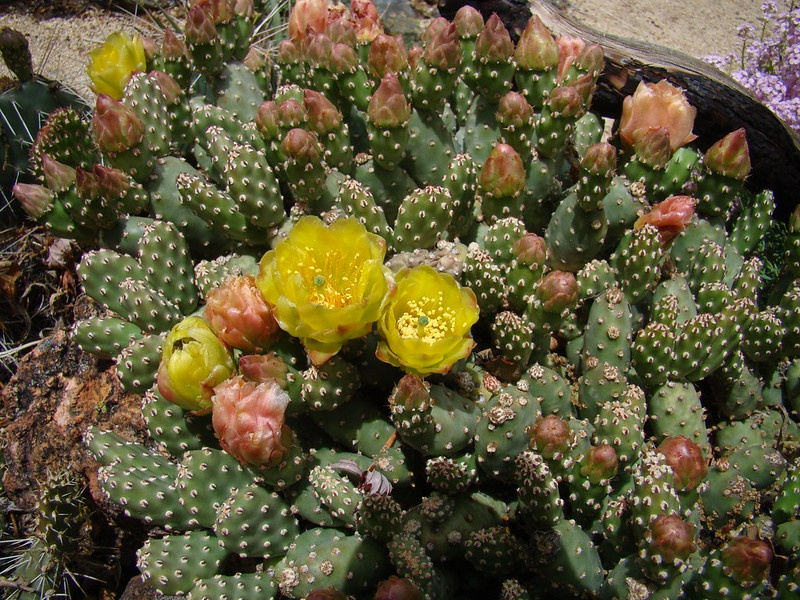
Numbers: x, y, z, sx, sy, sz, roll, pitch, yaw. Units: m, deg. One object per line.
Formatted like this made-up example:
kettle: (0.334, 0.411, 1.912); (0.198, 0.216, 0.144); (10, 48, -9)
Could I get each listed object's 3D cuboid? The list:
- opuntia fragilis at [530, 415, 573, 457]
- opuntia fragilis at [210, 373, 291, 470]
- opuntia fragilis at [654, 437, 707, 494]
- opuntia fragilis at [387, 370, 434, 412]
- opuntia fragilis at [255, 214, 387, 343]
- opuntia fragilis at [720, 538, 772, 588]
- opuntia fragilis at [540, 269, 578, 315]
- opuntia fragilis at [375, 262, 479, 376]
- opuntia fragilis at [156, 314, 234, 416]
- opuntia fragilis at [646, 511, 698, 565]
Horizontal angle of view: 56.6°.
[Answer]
opuntia fragilis: (0.506, 0.453, 2.497); (0.128, 0.080, 0.127); (14, 96, -2)
opuntia fragilis: (-0.493, 0.392, 2.427); (0.249, 0.149, 0.250); (13, 62, -3)
opuntia fragilis: (0.937, 0.558, 2.494); (0.143, 0.148, 0.182); (0, 50, 15)
opuntia fragilis: (0.036, 0.293, 2.424); (0.113, 0.119, 0.115); (15, 30, 20)
opuntia fragilis: (-0.255, -0.066, 2.443); (0.426, 0.218, 0.393); (7, 63, -7)
opuntia fragilis: (1.074, 0.808, 2.310); (0.121, 0.155, 0.144); (-1, 86, 28)
opuntia fragilis: (0.554, -0.028, 2.664); (0.115, 0.146, 0.136); (3, 98, 1)
opuntia fragilis: (0.095, 0.083, 2.464); (0.316, 0.187, 0.324); (21, 62, 1)
opuntia fragilis: (-0.691, 0.220, 2.500); (0.239, 0.154, 0.255); (32, 63, 7)
opuntia fragilis: (0.860, 0.747, 2.410); (0.145, 0.158, 0.136); (19, 33, 32)
